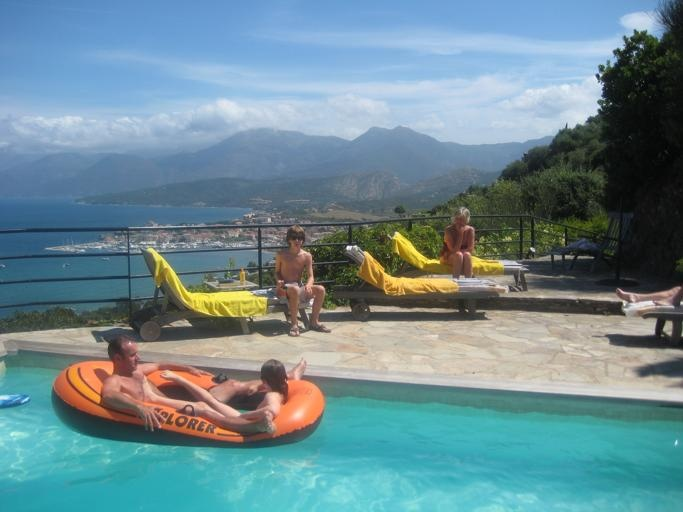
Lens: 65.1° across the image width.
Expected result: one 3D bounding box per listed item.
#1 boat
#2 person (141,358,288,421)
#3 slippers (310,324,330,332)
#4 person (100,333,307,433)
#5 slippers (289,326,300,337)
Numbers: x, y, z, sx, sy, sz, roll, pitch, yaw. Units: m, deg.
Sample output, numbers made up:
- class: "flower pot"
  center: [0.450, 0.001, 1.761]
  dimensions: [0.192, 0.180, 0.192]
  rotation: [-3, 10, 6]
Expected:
- class: "boat"
  center: [-1.552, 1.494, 5.021]
  dimensions: [1.830, 0.364, 1.011]
  rotation: [1, -1, -1]
- class: "person"
  center: [-1.005, 1.347, 5.100]
  dimensions: [0.815, 0.302, 0.809]
  rotation: [10, 3, 12]
- class: "slippers"
  center: [-0.302, 1.001, 7.323]
  dimensions: [0.220, 0.074, 0.110]
  rotation: [3, 1, 4]
- class: "person"
  center: [-1.388, 1.319, 5.043]
  dimensions: [1.244, 0.445, 1.070]
  rotation: [5, 1, 4]
- class: "slippers"
  center: [-0.634, 1.016, 7.116]
  dimensions: [0.127, 0.074, 0.296]
  rotation: [-1, 1, -7]
